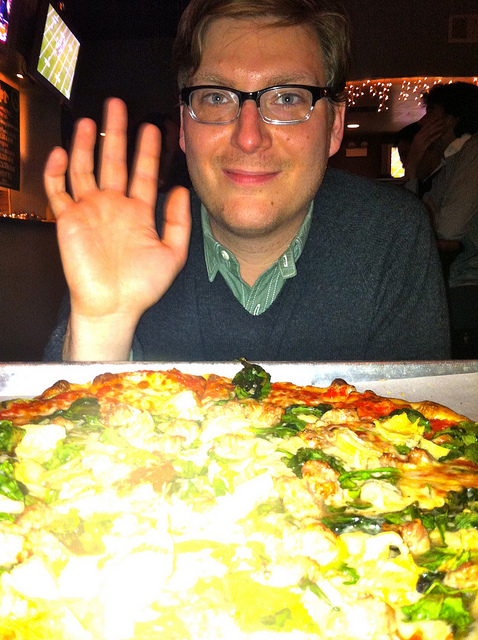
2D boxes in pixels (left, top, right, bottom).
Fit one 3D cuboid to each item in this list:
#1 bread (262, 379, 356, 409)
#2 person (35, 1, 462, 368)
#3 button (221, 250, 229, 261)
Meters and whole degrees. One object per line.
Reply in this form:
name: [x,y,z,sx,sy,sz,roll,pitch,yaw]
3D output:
bread: [0.155,0.162,1.076,0.138,0.029,0.083,3,15,-2]
person: [0.034,-0.366,1.472,1.267,0.988,0.779,-11,32,-23]
button: [-0.044,-0.196,1.497,0.017,0.036,0.030,-18,35,-32]
